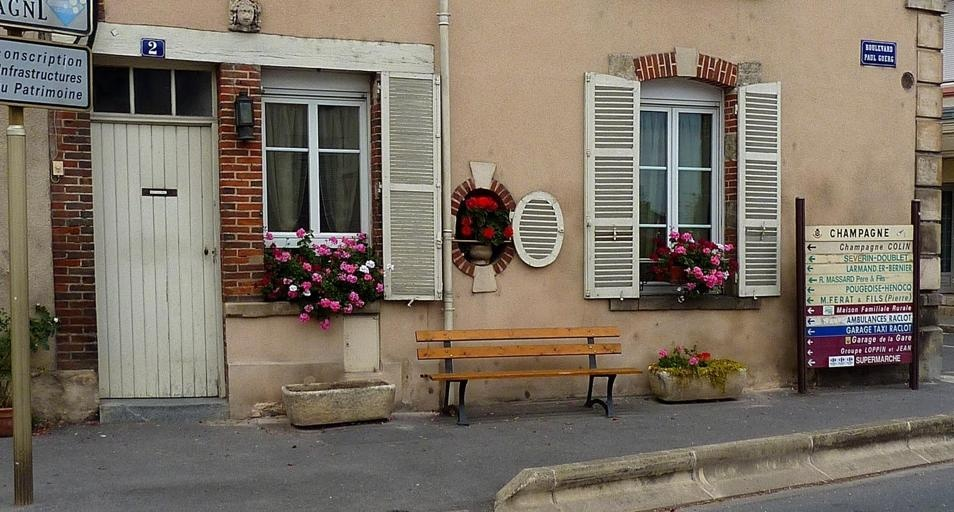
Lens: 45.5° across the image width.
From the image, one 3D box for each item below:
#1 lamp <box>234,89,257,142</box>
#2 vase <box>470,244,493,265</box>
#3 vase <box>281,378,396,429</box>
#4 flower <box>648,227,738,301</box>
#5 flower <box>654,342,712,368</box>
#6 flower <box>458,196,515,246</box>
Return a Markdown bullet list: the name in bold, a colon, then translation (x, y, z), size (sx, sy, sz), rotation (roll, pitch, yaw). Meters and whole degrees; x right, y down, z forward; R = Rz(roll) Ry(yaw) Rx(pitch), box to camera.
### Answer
- **lamp**: translation (-3.278, -1.974, 16.092), size (0.272, 0.718, 0.159), rotation (-2, 2, -11)
- **vase**: translation (0.063, 0.001, 16.900), size (0.322, 0.224, 0.296), rotation (-1, 2, 12)
- **vase**: translation (-1.949, 2.119, 16.080), size (1.543, 0.564, 0.437), rotation (-2, 2, -12)
- **flower**: translation (3.338, 0.213, 17.736), size (1.156, 0.805, 1.193), rotation (3, -12, 8)
- **flower**: translation (3.123, 1.539, 17.228), size (0.612, 0.237, 0.415), rotation (1, -2, 1)
- **flower**: translation (0.103, -0.499, 16.847), size (0.817, 0.720, 0.383), rotation (2, -11, -2)
